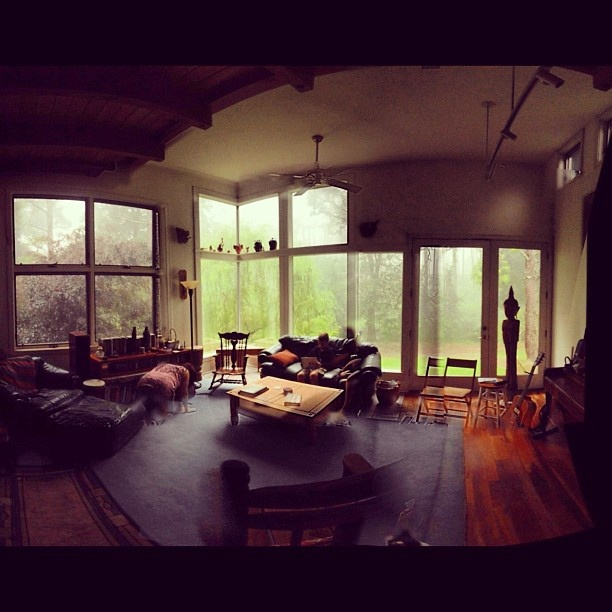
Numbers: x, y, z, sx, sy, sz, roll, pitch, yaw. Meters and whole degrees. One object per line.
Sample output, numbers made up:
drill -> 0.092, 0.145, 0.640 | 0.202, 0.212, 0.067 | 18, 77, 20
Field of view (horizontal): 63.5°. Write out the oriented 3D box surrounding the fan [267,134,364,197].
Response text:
fan -> 0.004, -0.797, 3.109 | 0.463, 0.314, 0.457 | -3, 12, -45

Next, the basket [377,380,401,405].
basket -> 0.449, 0.503, 2.869 | 0.153, 0.158, 0.119 | -1, 6, -4
